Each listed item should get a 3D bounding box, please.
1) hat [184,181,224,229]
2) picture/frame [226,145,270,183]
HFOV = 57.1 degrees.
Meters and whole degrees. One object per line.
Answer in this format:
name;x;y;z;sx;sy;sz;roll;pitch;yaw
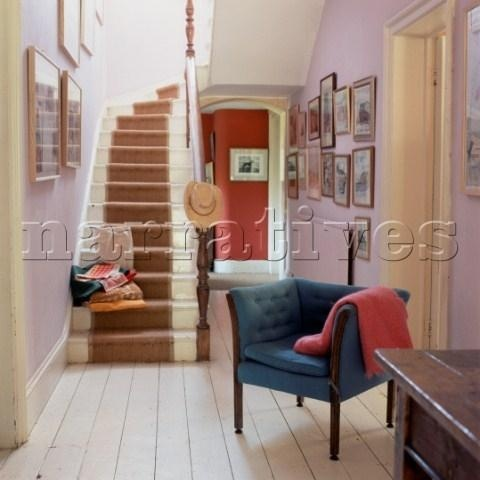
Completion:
hat;-0.280;-0.299;3.367;0.261;0.137;0.438;8;-36;1
picture/frame;0.098;-1.266;7.269;0.448;0.515;0.022;-1;4;-1
